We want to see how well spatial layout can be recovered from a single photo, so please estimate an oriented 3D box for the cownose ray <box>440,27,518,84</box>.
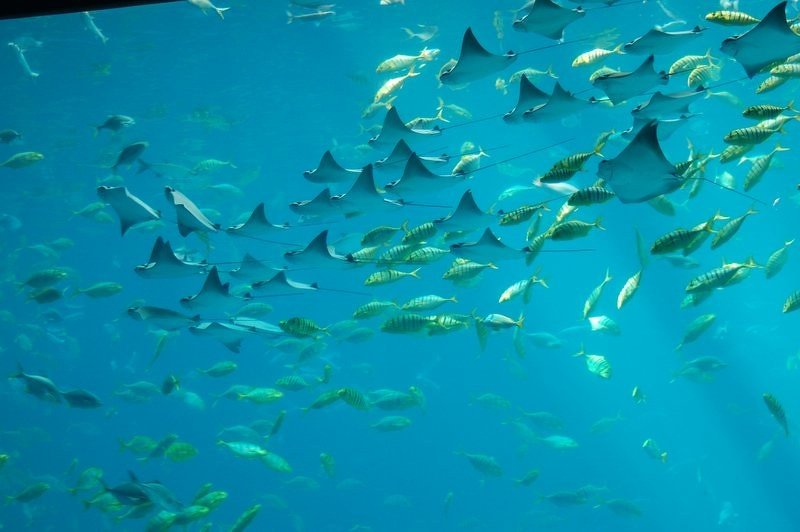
[{"bbox_3d":[2.279,-6.065,27.753,1.859,2.378,0.546,-2,62,-8],"label":"cownose ray"}]
